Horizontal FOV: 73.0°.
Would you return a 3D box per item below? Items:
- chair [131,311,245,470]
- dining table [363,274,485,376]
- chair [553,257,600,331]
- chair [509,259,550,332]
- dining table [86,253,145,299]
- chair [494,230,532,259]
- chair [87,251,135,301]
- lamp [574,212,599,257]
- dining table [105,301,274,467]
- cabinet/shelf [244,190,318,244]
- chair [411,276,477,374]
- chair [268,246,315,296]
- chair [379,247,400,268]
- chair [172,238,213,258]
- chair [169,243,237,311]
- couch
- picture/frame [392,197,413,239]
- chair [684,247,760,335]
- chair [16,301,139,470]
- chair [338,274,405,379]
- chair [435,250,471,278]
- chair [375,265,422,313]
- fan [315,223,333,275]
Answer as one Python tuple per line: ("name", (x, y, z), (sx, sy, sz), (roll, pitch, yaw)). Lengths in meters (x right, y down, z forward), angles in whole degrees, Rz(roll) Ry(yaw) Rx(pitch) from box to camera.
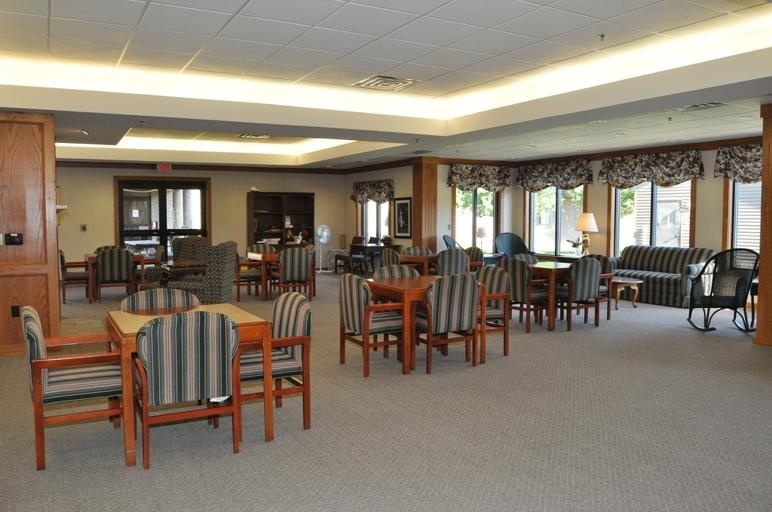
("chair", (-1.726, 1.052, 4.299), (1.005, 1.089, 0.945), (-4, -8, -1))
("dining table", (0.442, 0.779, 6.701), (1.350, 1.023, 1.287), (-2, 4, -29))
("chair", (3.012, 0.564, 8.514), (0.890, 1.111, 0.869), (1, 3, 35))
("chair", (2.359, 0.615, 8.449), (0.921, 1.143, 0.975), (0, 2, -3))
("dining table", (-5.428, 0.358, 10.828), (1.161, 1.124, 0.998), (-2, 6, -27))
("chair", (3.231, -0.331, 13.647), (0.926, 1.031, 0.826), (-2, 2, -17))
("chair", (-5.586, 0.390, 10.633), (0.996, 1.003, 0.965), (-7, -4, 38))
("lamp", (4.569, -0.484, 11.907), (0.570, 0.921, 0.543), (3, -12, 11))
("dining table", (-1.772, 0.924, 4.678), (1.440, 1.095, 1.348), (-1, 0, 44))
("cabinet/shelf", (-3.172, -1.180, 15.431), (1.955, 1.609, 0.535), (-1, 1, -26))
("chair", (0.599, 0.788, 6.525), (0.878, 1.082, 0.901), (0, -1, -41))
("chair", (-1.956, 0.409, 10.902), (0.987, 1.002, 0.968), (-3, -17, -13))
("chair", (0.124, 0.019, 10.836), (0.373, 0.472, 0.413), (13, 8, 37))
("chair", (-4.481, -0.209, 12.058), (0.596, 0.386, 0.420), (1, 7, 9))
("chair", (-3.301, 0.286, 9.069), (1.263, 1.286, 1.001), (1, 1, 3))
("couch", (5.645, 0.353, 10.928), (1.015, 1.045, 1.870), (-10, 11, -35))
("picture/frame", (0.487, -1.057, 14.096), (0.095, 1.157, 0.887), (-3, 5, -32))
("chair", (5.760, 0.416, 8.964), (0.986, 1.431, 2.712), (6, 11, 30))
("chair", (-2.769, 1.190, 4.668), (0.998, 1.458, 1.117), (-3, 9, -24))
("chair", (-0.128, 0.799, 6.482), (0.909, 1.074, 0.875), (5, 5, 41))
("chair", (1.275, 0.122, 9.808), (0.540, 0.724, 0.557), (1, 8, 2))
("chair", (0.159, 0.419, 6.625), (0.660, 0.774, 0.680), (1, -2, -20))
("fan", (-1.875, -0.249, 15.591), (0.417, 1.437, 1.369), (-1, 10, -7))
